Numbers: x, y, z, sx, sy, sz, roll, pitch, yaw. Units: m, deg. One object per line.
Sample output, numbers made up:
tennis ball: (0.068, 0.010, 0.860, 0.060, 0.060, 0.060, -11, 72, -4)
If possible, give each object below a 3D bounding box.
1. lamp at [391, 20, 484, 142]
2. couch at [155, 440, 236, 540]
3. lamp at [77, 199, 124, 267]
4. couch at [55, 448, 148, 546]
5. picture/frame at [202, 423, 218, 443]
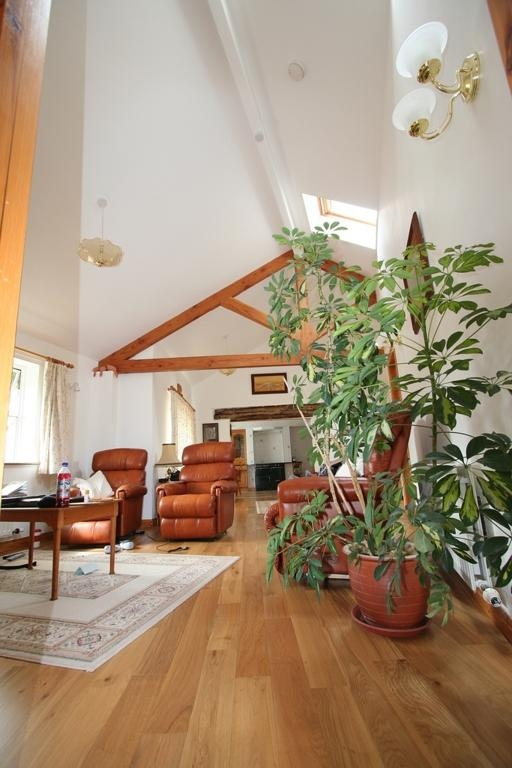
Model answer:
lamp: (0.608, -1.023, 1.566, 0.227, 0.324, 0.179, 6, 17, 31)
couch: (-0.581, 1.017, 4.552, 0.716, 0.911, 0.881, -5, -8, 12)
lamp: (-1.073, -1.068, 3.177, 0.269, 0.268, 0.488, -11, -33, -26)
couch: (-1.692, 1.078, 4.582, 0.736, 0.953, 0.936, -5, -11, 12)
picture/frame: (-1.069, 1.061, 10.602, 0.374, 0.419, 0.118, -1, -11, -9)
